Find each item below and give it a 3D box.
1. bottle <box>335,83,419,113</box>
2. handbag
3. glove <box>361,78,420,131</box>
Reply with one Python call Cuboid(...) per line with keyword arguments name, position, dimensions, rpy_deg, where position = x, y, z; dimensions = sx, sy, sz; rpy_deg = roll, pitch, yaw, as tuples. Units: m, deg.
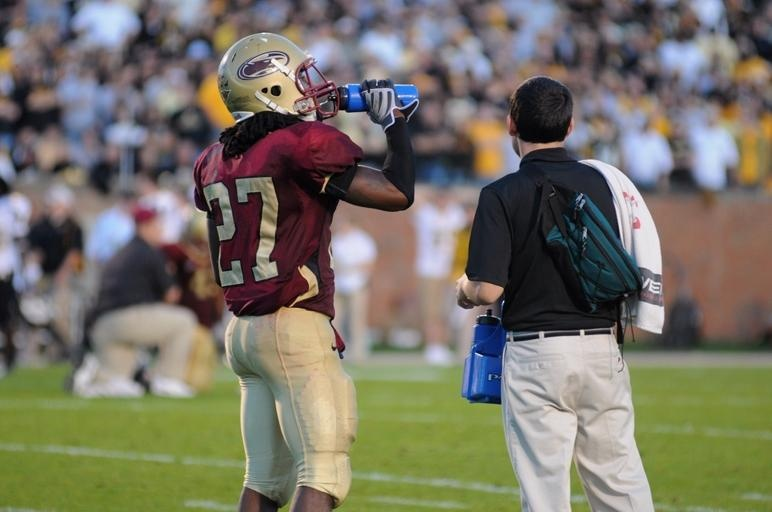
Cuboid(name="bottle", position=(-0.080, -1.265, 10.161), dimensions=(0.703, 0.244, 0.246), rpy_deg=(0, 4, -6))
Cuboid(name="handbag", position=(1.594, -0.076, 10.101), dimensions=(0.597, 1.104, 0.401), rpy_deg=(-34, -6, 19))
Cuboid(name="glove", position=(0.055, -1.285, 10.220), dimensions=(0.556, 0.230, 0.453), rpy_deg=(4, 31, -23))
